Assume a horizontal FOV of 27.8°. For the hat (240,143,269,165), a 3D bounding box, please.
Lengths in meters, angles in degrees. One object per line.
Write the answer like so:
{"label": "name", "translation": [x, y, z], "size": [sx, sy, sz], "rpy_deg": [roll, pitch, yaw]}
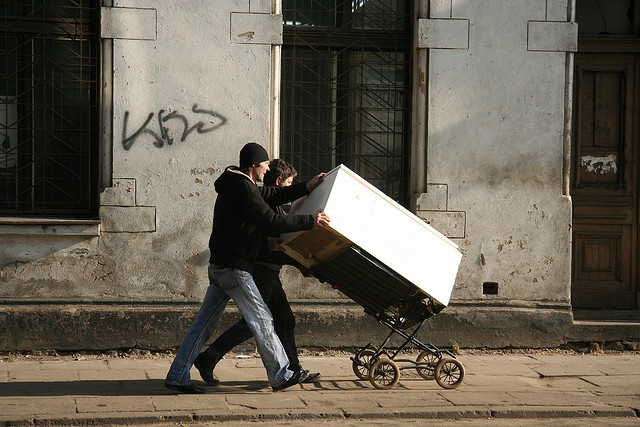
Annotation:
{"label": "hat", "translation": [-0.814, -0.728, 16.069], "size": [0.292, 0.242, 0.289], "rpy_deg": [2, 3, -29]}

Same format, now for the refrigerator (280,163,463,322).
{"label": "refrigerator", "translation": [0.640, 0.460, 16.330], "size": [1.859, 0.927, 0.941], "rpy_deg": [36, -36, -11]}

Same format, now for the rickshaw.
{"label": "rickshaw", "translation": [0.648, 1.290, 16.137], "size": [2.419, 1.696, 0.820], "rpy_deg": [5, -7, -3]}
